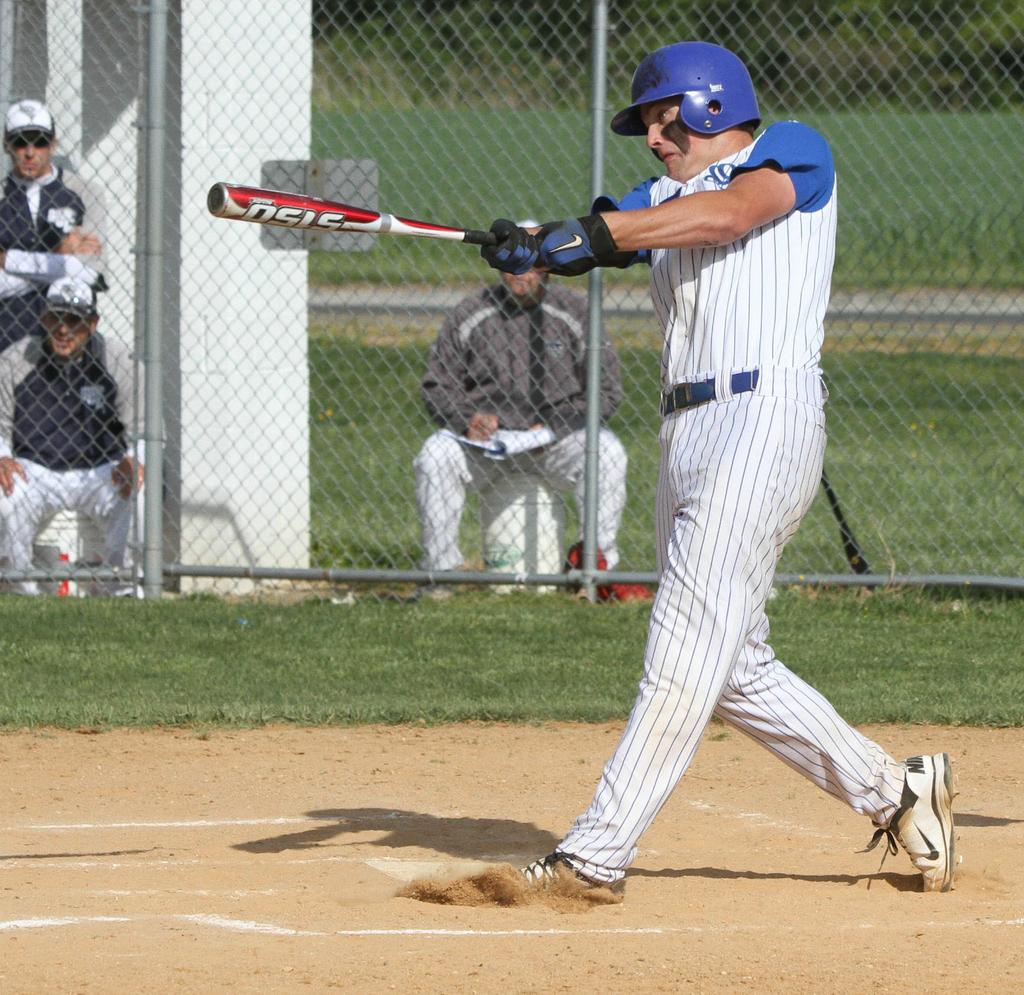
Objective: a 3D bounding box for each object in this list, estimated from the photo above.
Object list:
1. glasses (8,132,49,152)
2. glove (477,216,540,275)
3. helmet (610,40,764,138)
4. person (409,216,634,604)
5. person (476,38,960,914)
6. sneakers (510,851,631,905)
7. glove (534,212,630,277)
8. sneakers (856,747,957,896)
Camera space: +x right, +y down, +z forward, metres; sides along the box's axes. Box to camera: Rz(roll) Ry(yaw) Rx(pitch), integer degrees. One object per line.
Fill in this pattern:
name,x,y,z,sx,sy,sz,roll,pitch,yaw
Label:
glasses,-1.848,-1.362,10.604,0.170,0.088,0.063,-2,12,-13
glove,0.000,-0.670,7.361,0.158,0.144,0.175,1,12,-1
helmet,0.474,-1.092,7.482,0.308,0.205,0.235,-1,-3,1
person,-0.046,-0.346,11.012,1.043,1.887,0.998,0,0,-3
person,0.569,-0.073,7.428,1.215,2.234,0.566,1,11,0
sneakers,0.160,1.007,7.462,0.322,0.157,0.114,0,12,2
glove,0.171,-0.661,7.327,0.186,0.158,0.076,-14,-24,9
sneakers,1.095,0.861,7.590,0.216,0.486,0.159,-6,7,-3
